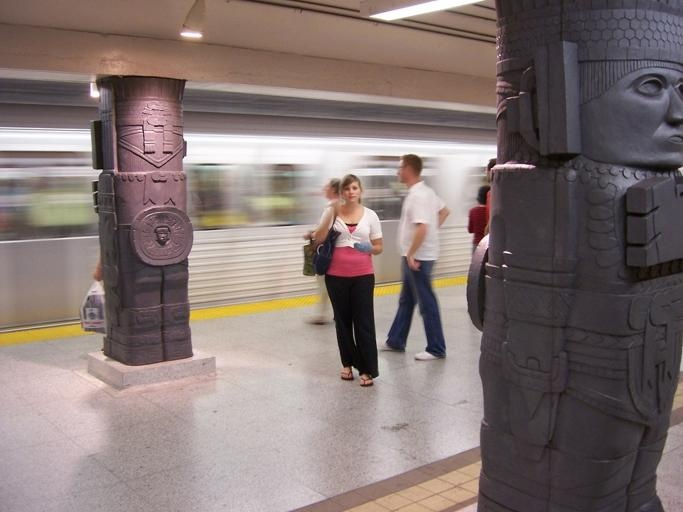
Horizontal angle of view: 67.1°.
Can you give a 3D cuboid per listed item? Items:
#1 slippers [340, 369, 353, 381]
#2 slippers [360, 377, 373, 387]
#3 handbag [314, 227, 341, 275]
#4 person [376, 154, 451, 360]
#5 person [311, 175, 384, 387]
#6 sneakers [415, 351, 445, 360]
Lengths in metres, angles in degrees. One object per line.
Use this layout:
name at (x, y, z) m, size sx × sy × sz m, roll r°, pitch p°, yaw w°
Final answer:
slippers at (0.065, 1.327, 5.750) m, size 0.089 × 0.071 × 0.170 m, roll 0°, pitch 2°, yaw -3°
slippers at (0.269, 1.359, 5.543) m, size 0.098 × 0.068 × 0.176 m, roll 0°, pitch -6°, yaw 3°
handbag at (-0.172, -0.049, 5.352) m, size 0.286 × 0.483 × 0.101 m, roll 2°, pitch 8°, yaw 21°
person at (1.003, 0.007, 6.447) m, size 0.780 × 2.579 × 0.718 m, roll -2°, pitch 8°, yaw -11°
person at (0.083, 0.274, 5.504) m, size 0.679 × 2.260 × 0.365 m, roll 0°, pitch 8°, yaw 4°
sneakers at (1.140, 1.260, 6.527) m, size 0.395 × 0.140 × 0.124 m, roll 2°, pitch -4°, yaw -10°
